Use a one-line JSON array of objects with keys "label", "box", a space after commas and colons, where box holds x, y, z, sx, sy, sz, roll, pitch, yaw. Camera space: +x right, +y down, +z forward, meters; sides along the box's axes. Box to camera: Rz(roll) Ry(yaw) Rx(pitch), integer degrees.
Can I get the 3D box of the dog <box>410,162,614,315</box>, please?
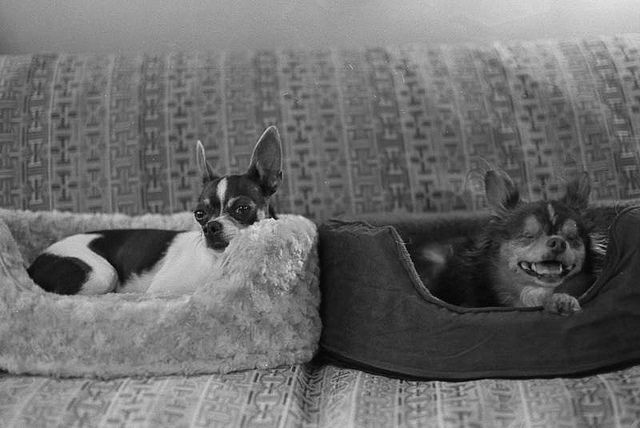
[{"label": "dog", "box": [0.744, 0.124, 2.335, 0.503, 0.595, 0.267, 1, 67, 9]}]
